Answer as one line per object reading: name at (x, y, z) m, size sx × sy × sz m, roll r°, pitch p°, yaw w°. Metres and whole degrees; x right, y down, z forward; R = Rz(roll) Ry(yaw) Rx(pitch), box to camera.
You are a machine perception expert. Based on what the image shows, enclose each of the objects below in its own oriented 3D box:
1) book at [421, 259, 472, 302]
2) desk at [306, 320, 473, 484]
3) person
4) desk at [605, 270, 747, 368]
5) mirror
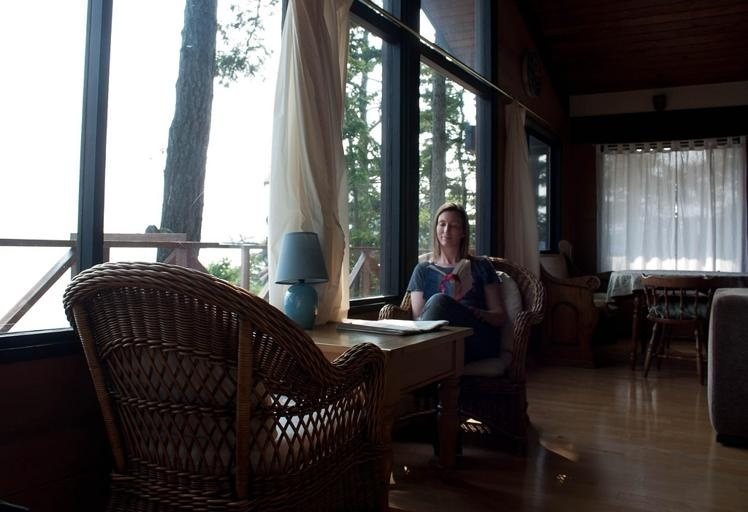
book at (0.445, 0.160, 3.458) m, size 0.194 × 0.211 × 0.091 m, roll -12°, pitch -9°, yaw 4°
desk at (0.064, 0.681, 2.899) m, size 0.645 × 0.663 × 0.661 m, roll -3°, pitch -3°, yaw 38°
person at (0.429, 0.238, 3.438) m, size 0.547 × 1.177 × 0.632 m, roll -10°, pitch -19°, yaw 36°
desk at (2.699, 0.571, 5.679) m, size 1.006 × 0.670 × 1.052 m, roll -1°, pitch -9°, yaw 11°
mirror at (2.061, -0.738, 6.982) m, size 0.189 × 1.372 × 0.799 m, roll 2°, pitch 4°, yaw 29°
